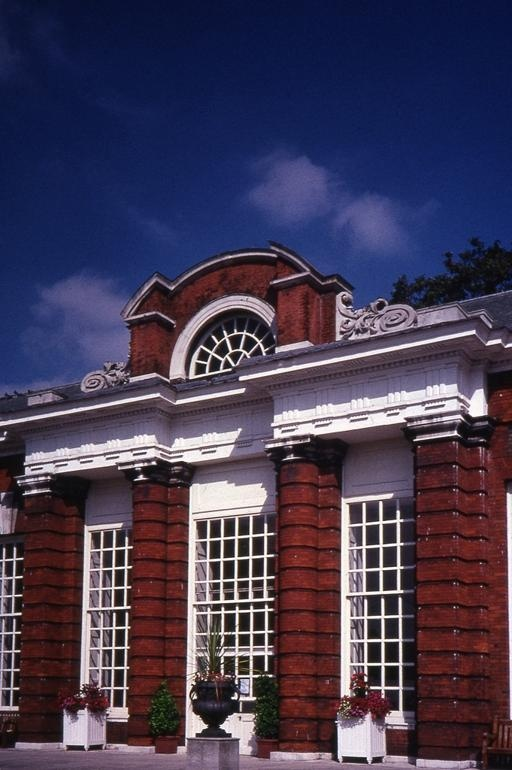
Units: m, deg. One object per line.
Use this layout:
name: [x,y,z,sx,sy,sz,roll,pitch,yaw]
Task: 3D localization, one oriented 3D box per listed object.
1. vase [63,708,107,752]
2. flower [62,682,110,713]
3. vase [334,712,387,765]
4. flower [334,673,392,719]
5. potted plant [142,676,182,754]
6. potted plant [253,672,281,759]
vase: [-3.615,7.307,35.726,0.857,1.282,0.874,-5,-10,29]
flower: [-3.688,6.605,35.726,0.677,0.474,0.681,6,-13,-36]
vase: [1.977,6.559,31.513,0.873,1.110,0.960,-10,-18,32]
flower: [1.936,5.767,31.255,0.997,0.881,0.609,-5,-15,14]
potted plant: [-1.913,6.723,34.110,0.629,1.456,0.566,0,-15,-3]
potted plant: [0.168,6.420,32.683,0.431,1.605,0.682,1,-15,-5]
